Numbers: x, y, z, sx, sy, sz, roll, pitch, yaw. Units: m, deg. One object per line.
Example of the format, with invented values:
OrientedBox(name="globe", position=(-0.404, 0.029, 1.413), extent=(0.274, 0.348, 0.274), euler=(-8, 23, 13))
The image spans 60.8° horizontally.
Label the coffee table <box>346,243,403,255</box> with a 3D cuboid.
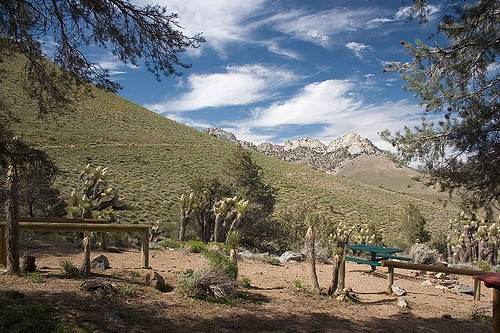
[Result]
OrientedBox(name="coffee table", position=(5.170, 3.483, 17.813), extent=(1.947, 0.383, 1.962), euler=(0, -8, 10))
